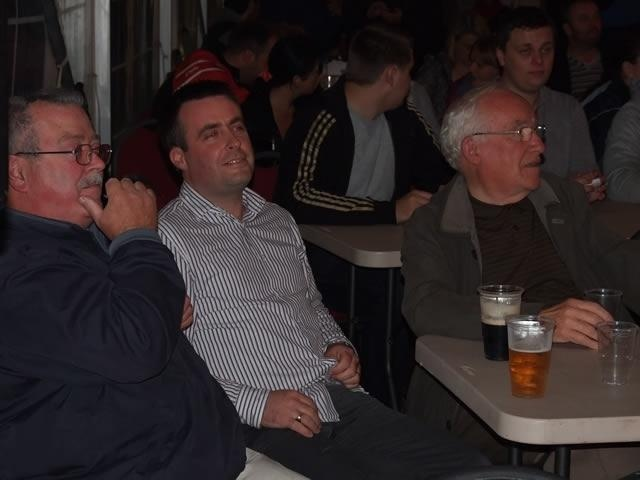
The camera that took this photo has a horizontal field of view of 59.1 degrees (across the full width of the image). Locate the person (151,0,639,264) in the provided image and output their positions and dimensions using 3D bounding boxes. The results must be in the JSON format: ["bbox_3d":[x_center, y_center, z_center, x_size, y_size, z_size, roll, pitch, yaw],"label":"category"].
[{"bbox_3d":[0.287,-0.576,2.898,1.738,0.398,1.039,-5,36,-5],"label":"person"}]

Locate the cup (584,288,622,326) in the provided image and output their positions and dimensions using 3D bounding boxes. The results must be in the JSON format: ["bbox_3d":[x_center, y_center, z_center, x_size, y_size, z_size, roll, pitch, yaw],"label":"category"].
[{"bbox_3d":[0.836,0.191,1.653,0.101,0.103,0.099,0,-10,0],"label":"cup"}]

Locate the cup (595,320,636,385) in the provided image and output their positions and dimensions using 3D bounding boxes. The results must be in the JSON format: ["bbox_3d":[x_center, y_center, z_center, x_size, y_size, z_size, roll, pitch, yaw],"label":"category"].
[{"bbox_3d":[0.714,0.274,1.366,0.108,0.150,0.107,4,-19,1],"label":"cup"}]

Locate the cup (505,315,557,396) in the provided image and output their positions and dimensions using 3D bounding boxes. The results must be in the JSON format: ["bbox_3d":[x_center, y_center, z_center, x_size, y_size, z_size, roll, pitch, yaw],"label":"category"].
[{"bbox_3d":[0.491,0.263,1.322,0.095,0.169,0.140,0,10,19],"label":"cup"}]
